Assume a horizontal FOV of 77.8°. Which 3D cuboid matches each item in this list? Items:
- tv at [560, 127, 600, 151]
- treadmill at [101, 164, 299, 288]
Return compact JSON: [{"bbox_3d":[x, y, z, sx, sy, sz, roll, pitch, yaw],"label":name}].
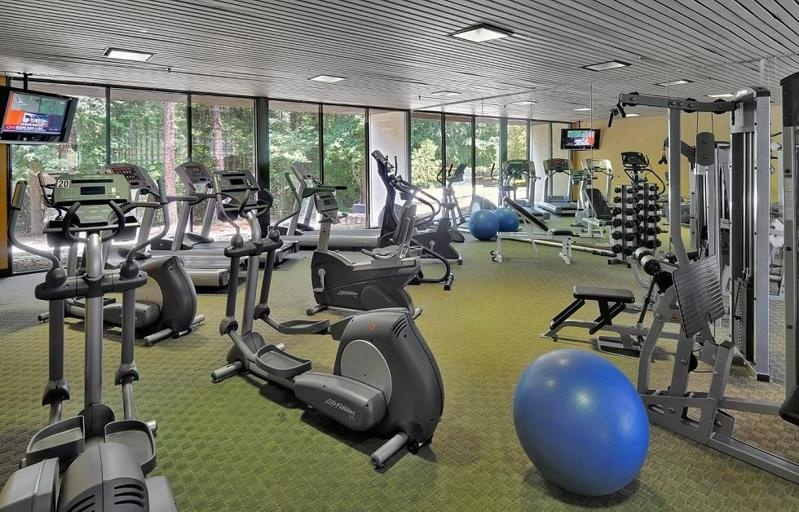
[{"bbox_3d":[5.177,-3.377,14.233,1.339,0.836,0.367,2,9,6],"label":"tv"},{"bbox_3d":[-3.382,-0.450,8.013,2.595,1.882,2.679,4,7,25],"label":"treadmill"}]
